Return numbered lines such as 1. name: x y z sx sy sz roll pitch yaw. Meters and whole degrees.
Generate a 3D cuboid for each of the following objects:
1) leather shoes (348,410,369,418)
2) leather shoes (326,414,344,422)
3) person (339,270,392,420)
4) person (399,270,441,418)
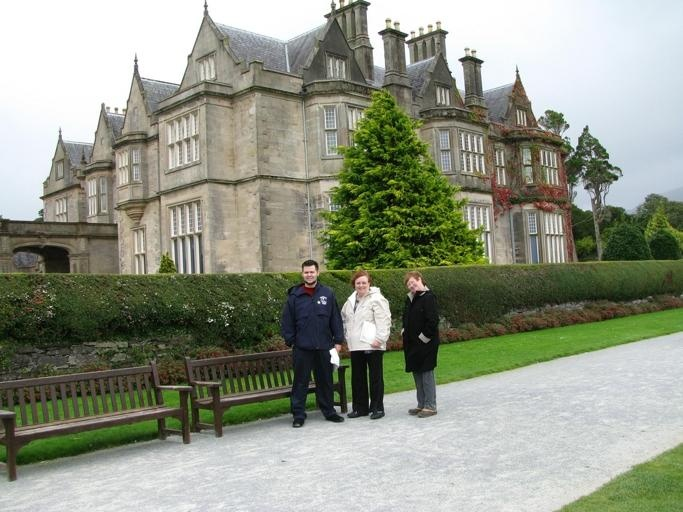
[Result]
1. leather shoes: 0.248 2.361 8.390 0.328 0.138 0.110 8 -9 -30
2. leather shoes: -0.092 2.343 8.137 0.247 0.100 0.112 -5 -2 39
3. person: 0.371 1.291 8.359 0.557 2.166 0.735 -2 -7 -31
4. person: 1.159 1.259 8.246 0.605 2.088 0.454 -9 -7 26
